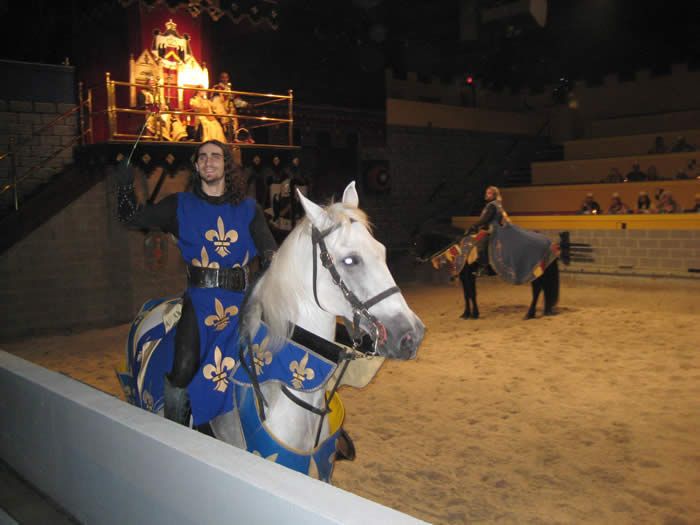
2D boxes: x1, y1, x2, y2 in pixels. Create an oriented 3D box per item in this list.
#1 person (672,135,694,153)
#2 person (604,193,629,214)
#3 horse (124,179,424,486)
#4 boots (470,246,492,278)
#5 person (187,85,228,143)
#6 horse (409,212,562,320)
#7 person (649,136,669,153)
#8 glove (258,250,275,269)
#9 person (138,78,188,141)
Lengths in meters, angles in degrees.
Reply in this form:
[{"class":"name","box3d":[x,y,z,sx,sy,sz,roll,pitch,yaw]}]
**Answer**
[{"class":"person","box3d":[9.843,-3.521,19.519,0.601,0.493,1.020,3,10,27]},{"class":"person","box3d":[6.836,-1.517,16.922,0.432,0.759,0.378,-5,-24,11]},{"class":"horse","box3d":[-0.502,0.501,4.183,1.956,1.840,0.768,3,10,28]},{"class":"boots","box3d":[2.324,-0.004,11.649,0.338,0.509,0.419,2,3,14]},{"class":"person","box3d":[-2.570,-2.659,11.872,0.610,0.929,1.131,-3,9,-10]},{"class":"horse","box3d":[2.285,0.004,12.310,1.660,1.716,2.930,-5,10,-21]},{"class":"person","box3d":[9.484,-3.644,20.259,0.418,0.543,1.025,2,10,23]},{"class":"glove","box3d":[-0.570,-0.010,4.438,0.087,0.105,0.118,7,-22,-15]},{"class":"person","box3d":[-3.345,-2.707,11.803,0.759,1.087,2.680,-4,9,-14]}]
